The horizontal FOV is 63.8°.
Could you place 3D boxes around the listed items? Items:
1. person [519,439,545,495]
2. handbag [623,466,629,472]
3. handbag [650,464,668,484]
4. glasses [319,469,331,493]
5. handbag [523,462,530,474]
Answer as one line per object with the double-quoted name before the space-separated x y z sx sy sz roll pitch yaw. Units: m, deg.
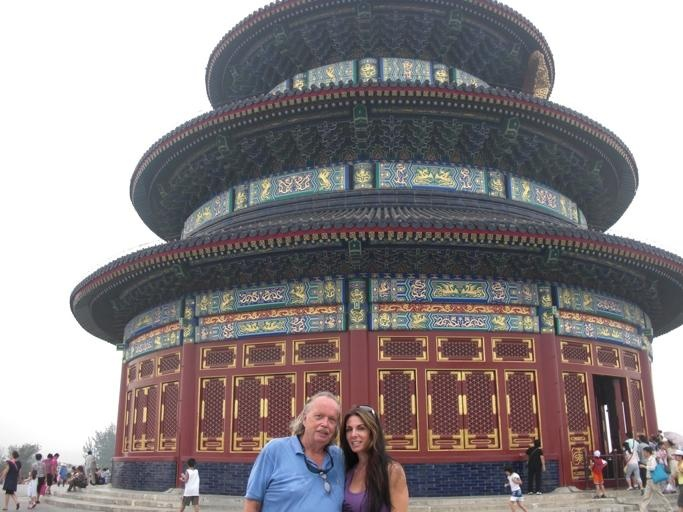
"person" 4.934 5.250 14.030 0.417 1.419 0.422 1 13 16
"handbag" 7.837 5.835 15.121 0.123 0.172 0.142 -9 13 11
"handbag" 7.329 4.950 12.615 0.164 0.481 0.350 24 -29 -34
"glasses" -0.153 2.107 5.148 0.078 0.180 0.031 -7 -19 -36
"handbag" 4.721 5.392 14.032 0.065 0.212 0.169 6 1 16
